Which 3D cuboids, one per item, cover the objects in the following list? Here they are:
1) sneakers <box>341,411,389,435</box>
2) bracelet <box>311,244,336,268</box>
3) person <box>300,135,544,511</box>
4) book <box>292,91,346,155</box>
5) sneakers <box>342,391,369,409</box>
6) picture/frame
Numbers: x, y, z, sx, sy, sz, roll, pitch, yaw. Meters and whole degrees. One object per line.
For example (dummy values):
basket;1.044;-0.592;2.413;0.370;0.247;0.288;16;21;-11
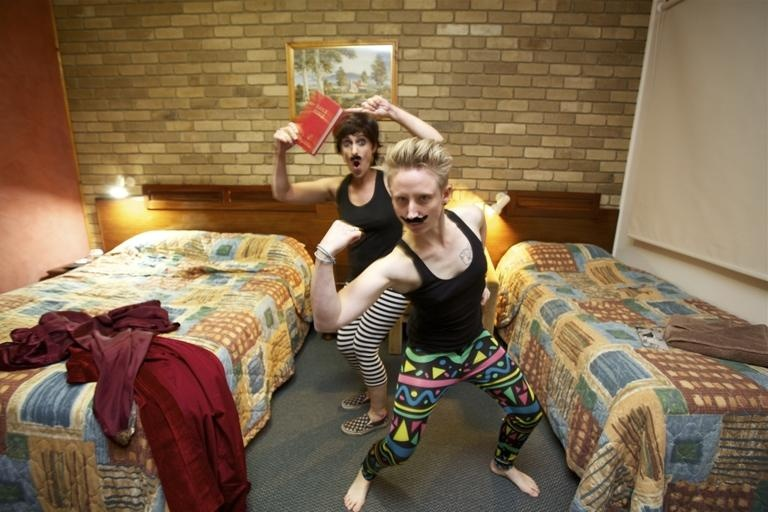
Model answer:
sneakers;-0.125;1.159;3.655;0.305;0.106;0.137;-2;4;-21
bracelet;-0.305;-0.002;2.683;0.097;0.039;0.093;29;-30;-6
person;0.265;0.450;2.994;1.307;2.198;0.405;-6;17;-10
book;-0.409;-0.840;3.519;0.314;0.422;0.116;30;1;17
sneakers;-0.205;1.051;3.836;0.219;0.084;0.085;-1;14;-21
picture/frame;-0.324;-1.535;4.424;1.220;0.854;0.048;1;20;5
